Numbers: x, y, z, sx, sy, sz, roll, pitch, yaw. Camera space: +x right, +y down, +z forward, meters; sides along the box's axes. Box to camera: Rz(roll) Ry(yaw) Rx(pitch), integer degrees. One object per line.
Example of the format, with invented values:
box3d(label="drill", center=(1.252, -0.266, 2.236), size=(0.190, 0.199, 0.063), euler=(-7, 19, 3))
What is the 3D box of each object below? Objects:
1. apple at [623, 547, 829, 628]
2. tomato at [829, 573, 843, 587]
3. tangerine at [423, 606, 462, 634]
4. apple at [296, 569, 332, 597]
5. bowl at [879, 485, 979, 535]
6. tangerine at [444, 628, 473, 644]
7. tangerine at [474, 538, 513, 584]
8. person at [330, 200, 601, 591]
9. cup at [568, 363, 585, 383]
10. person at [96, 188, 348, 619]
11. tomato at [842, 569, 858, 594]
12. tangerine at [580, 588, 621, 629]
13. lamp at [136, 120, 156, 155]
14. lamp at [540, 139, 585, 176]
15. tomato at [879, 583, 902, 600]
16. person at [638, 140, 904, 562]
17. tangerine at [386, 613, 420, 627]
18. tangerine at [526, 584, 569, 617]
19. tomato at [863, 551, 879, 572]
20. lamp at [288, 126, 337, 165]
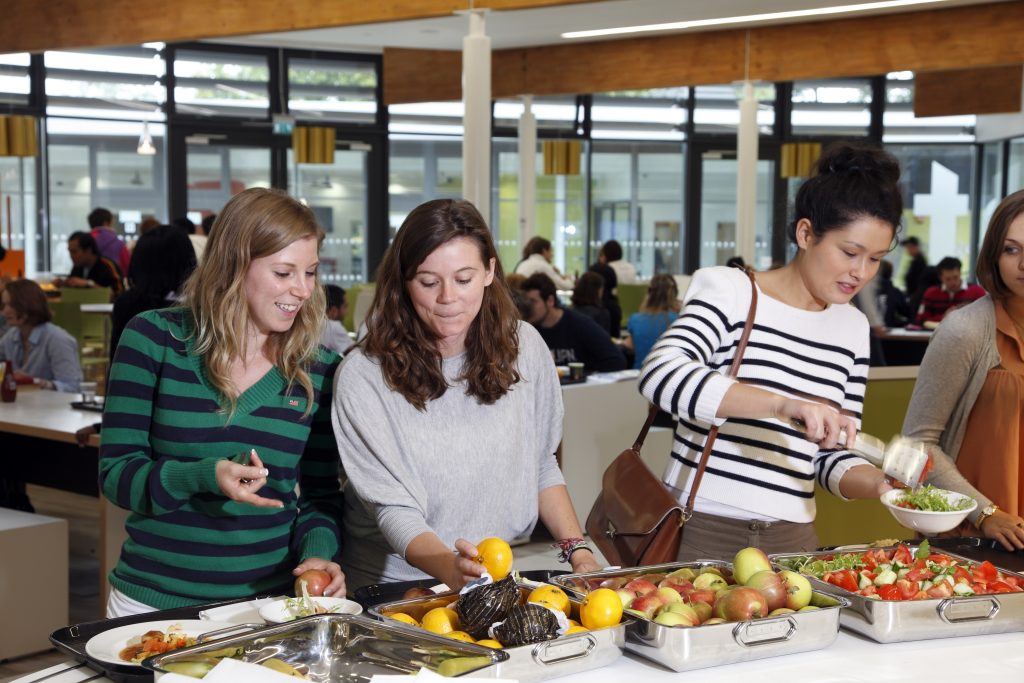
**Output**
box3d(label="apple", center=(0.506, 0.609, 2.282), size=(0.490, 0.124, 0.306), euler=(-3, 4, -16))
box3d(label="tomato", center=(0.856, 0.622, 2.383), size=(0.031, 0.024, 0.045), euler=(-1, 4, 15))
box3d(label="tangerine", center=(-0.167, 0.663, 2.154), size=(0.068, 0.053, 0.059), euler=(6, -20, 18))
box3d(label="apple", center=(-0.537, 0.654, 2.464), size=(0.069, 0.066, 0.065), euler=(1, -3, 25))
box3d(label="bowl", center=(1.156, 0.455, 2.525), size=(0.181, 0.070, 0.182), euler=(-3, 3, 0))
box3d(label="tangerine", center=(-0.117, 0.679, 2.104), size=(0.045, 0.025, 0.039), euler=(12, 1, 44))
box3d(label="tangerine", center=(-0.044, 0.540, 2.283), size=(0.089, 0.088, 0.190), euler=(-2, 4, -4))
box3d(label="person", center=(-0.134, 0.117, 2.648), size=(0.637, 1.050, 0.486), euler=(-6, 6, -39))
box3d(label="cup", center=(0.428, 0.207, 6.079), size=(0.116, 0.120, 0.117), euler=(2, 3, 0))
box3d(label="person", center=(-0.867, 0.174, 2.653), size=(0.725, 1.265, 0.520), euler=(-3, 5, -11))
box3d(label="tomato", center=(0.885, 0.625, 2.365), size=(0.016, 0.039, 0.040), euler=(24, -3, -1))
box3d(label="tangerine", center=(0.221, 0.643, 2.221), size=(0.090, 0.087, 0.088), euler=(-9, -31, 45))
box3d(label="lamp", center=(-4.831, -2.685, 11.903), size=(0.243, 0.470, 0.867), euler=(-4, 5, -21))
box3d(label="lamp", center=(0.654, -2.524, 12.322), size=(0.550, 0.423, 0.564), euler=(-1, -2, 45))
box3d(label="tomato", center=(0.976, 0.641, 2.327), size=(0.055, 0.025, 0.062), euler=(0, 5, 23))
box3d(label="person", center=(0.807, 0.050, 2.742), size=(0.846, 1.292, 0.638), euler=(-2, 5, 0))
box3d(label="tangerine", center=(-0.256, 0.659, 2.156), size=(0.046, 0.026, 0.036), euler=(14, -4, -11))
box3d(label="tangerine", center=(0.086, 0.618, 2.189), size=(0.077, 0.072, 0.072), euler=(11, -9, -34))
box3d(label="tomato", center=(0.992, 0.598, 2.476), size=(0.039, 0.027, 0.045), euler=(1, 4, 25))
box3d(label="lamp", center=(-2.373, -2.275, 10.681), size=(0.543, 0.500, 0.470), euler=(4, 6, 23))
